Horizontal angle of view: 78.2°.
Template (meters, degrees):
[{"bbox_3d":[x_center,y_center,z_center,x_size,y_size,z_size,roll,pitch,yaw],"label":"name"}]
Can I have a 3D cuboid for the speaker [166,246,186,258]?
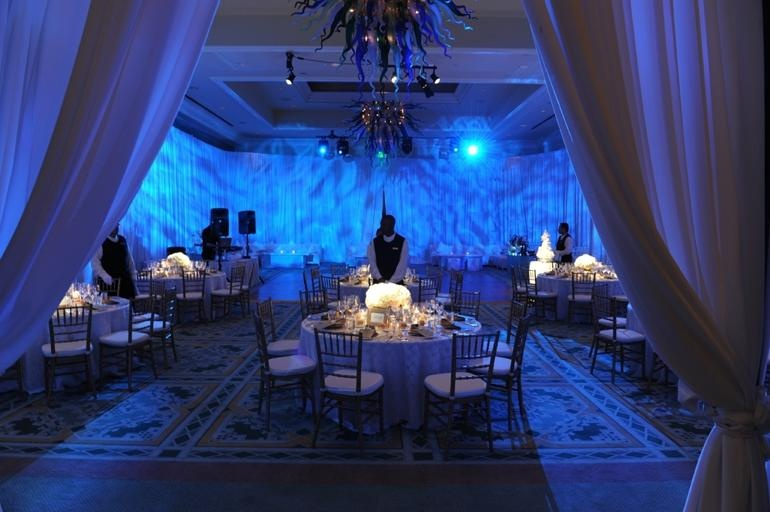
[{"bbox_3d":[-5.484,-0.074,12.410,0.339,0.354,0.637,5,0,15],"label":"speaker"}]

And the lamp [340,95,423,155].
[{"bbox_3d":[-0.020,-2.478,9.767,1.816,0.882,1.934,-3,7,-33],"label":"lamp"}]

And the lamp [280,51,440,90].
[{"bbox_3d":[-0.821,-3.617,9.397,3.673,0.425,1.057,15,53,30],"label":"lamp"}]
